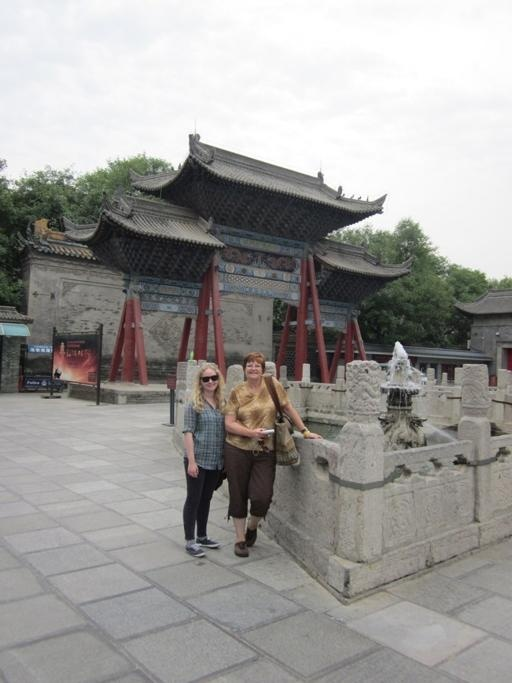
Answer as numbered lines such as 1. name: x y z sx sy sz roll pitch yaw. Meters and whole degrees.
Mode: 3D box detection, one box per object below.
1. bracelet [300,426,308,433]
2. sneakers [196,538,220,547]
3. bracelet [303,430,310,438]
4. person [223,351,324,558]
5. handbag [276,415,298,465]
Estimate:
1. bracelet: 0.331 0.615 3.901 0.046 0.059 0.031 9 16 -18
2. sneakers: -0.336 1.424 3.974 0.170 0.069 0.062 2 -7 8
3. bracelet: 0.355 0.641 3.931 0.036 0.045 0.047 -3 -16 14
4. person: 0.044 0.786 3.890 0.538 1.399 0.459 3 -2 14
5. handbag: 0.233 0.693 3.912 0.161 0.322 0.234 1 -3 41
